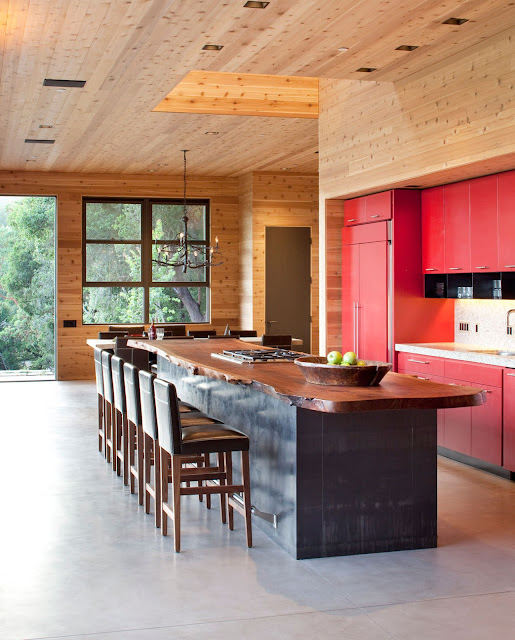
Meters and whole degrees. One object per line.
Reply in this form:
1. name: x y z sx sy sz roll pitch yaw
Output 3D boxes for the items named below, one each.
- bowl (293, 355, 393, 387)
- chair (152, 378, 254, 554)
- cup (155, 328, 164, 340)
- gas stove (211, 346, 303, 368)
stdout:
1. bowl: 0.396 0.250 2.635 0.430 0.114 0.190 0 -4 6
2. chair: -0.292 0.836 3.142 0.413 0.765 0.990 -2 1 -13
3. cup: -1.126 0.153 6.635 0.087 0.121 0.270 1 -4 -13
4. gas stove: 0.003 0.249 3.959 0.612 0.112 0.844 1 -4 -13
